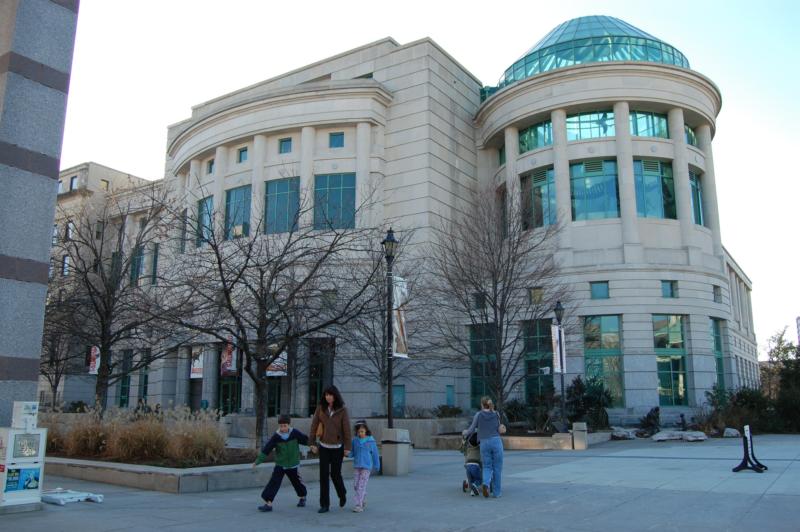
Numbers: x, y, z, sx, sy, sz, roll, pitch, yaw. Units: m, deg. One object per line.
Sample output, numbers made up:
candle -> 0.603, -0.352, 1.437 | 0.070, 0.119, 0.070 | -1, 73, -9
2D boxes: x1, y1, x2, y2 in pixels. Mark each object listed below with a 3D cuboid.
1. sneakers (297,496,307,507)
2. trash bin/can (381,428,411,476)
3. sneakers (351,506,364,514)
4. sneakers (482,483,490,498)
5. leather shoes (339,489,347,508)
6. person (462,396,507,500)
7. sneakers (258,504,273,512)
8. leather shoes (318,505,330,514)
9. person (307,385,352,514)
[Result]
sneakers -> -2.537, 6.053, 16.100 | 0.124, 0.131, 0.337 | 3, -2, 5
trash bin/can -> -0.035, 6.563, 21.935 | 0.666, 1.591, 1.854 | -6, -16, 22
sneakers -> -1.065, 6.050, 15.593 | 0.135, 0.163, 0.355 | -1, -19, 1
sneakers -> 2.277, 5.990, 16.746 | 0.160, 0.343, 0.215 | -8, 1, 6
leather shoes -> -1.461, 5.844, 15.909 | 0.163, 0.522, 0.218 | -4, -5, 0
person -> 2.321, 4.881, 16.990 | 0.835, 2.647, 0.989 | -2, -13, 6
sneakers -> -3.297, 5.927, 15.360 | 0.310, 0.140, 0.158 | -3, -19, 20
leather shoes -> -1.872, 5.972, 15.354 | 0.245, 0.150, 0.134 | 16, -20, -26
person -> -1.778, 4.617, 16.004 | 1.025, 3.040, 0.948 | 0, -13, -6
